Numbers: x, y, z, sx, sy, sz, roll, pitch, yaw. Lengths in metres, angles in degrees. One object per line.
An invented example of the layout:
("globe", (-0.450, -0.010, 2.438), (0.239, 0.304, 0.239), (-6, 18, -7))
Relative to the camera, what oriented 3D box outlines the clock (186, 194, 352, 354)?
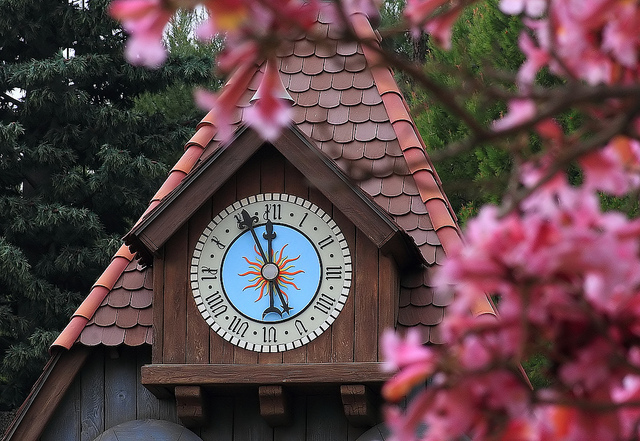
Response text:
("clock", (-0.301, 0.370, 6.674), (0.851, 0.939, 0.059), (2, -12, 3))
